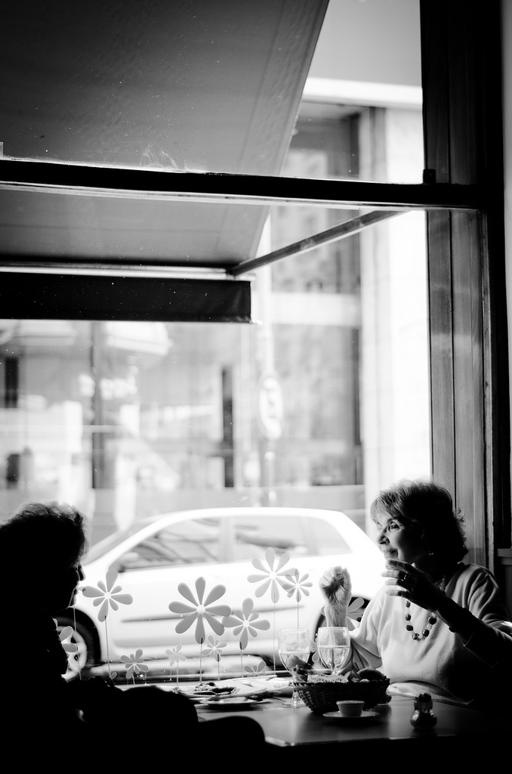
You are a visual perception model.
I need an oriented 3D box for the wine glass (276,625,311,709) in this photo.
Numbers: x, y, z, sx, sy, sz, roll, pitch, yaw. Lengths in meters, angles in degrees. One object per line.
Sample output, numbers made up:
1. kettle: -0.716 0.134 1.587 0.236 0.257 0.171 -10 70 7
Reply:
1. wine glass: 0.092 0.640 3.049 0.101 0.184 0.108 -3 0 -15
